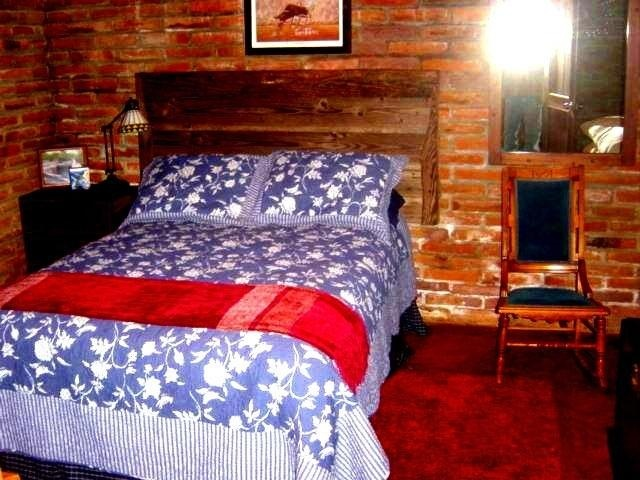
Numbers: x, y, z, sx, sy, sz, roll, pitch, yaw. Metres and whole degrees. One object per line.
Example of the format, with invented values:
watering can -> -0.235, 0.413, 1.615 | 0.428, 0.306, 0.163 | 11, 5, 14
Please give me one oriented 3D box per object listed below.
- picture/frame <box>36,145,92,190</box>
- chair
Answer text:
picture/frame -> -1.958, -0.552, 4.177 | 0.487, 0.326, 0.036 | 1, 7, 19
chair -> 1.471, 0.189, 3.396 | 0.801, 1.298, 0.856 | 7, 12, 15
